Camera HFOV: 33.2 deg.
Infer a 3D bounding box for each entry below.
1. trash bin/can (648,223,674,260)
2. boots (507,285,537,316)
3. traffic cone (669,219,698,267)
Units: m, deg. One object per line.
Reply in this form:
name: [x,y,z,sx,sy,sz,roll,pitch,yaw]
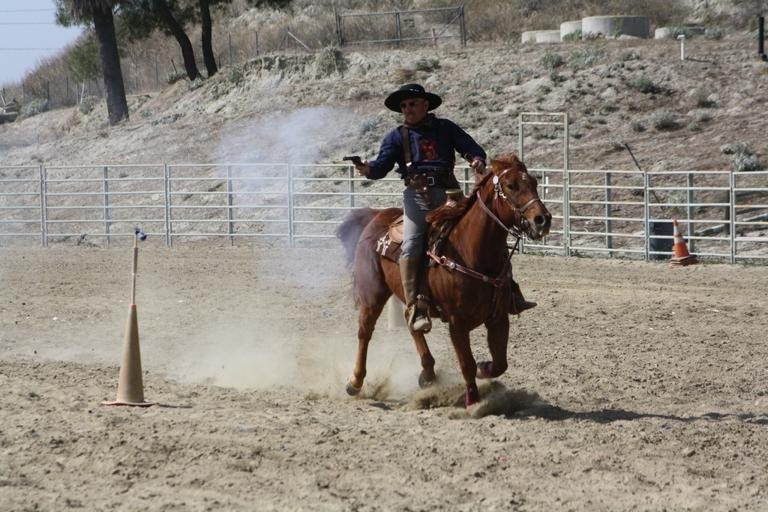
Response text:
trash bin/can: [8.283,-0.437,38.584,0.917,1.166,0.969,-1,3,4]
boots: [3.323,1.072,30.724,0.931,0.726,0.387,-4,-2,-16]
traffic cone: [8.757,-0.405,37.840,0.713,1.321,1.040,-1,4,13]
